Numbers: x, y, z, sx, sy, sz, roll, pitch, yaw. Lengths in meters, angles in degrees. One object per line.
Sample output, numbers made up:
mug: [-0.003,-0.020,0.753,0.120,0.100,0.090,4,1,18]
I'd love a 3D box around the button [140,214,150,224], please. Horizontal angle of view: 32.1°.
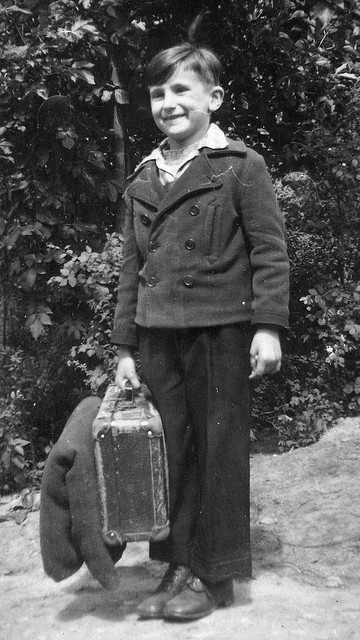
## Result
button: [-0.109,-0.312,1.936,0.022,0.031,0.031,-2,38,6]

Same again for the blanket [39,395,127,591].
blanket: [-0.303,0.506,1.838,0.148,0.494,0.289,7,-16,-25]

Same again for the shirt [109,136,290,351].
shirt: [0.075,-0.195,1.900,0.430,0.681,0.402,3,14,11]

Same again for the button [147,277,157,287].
button: [-0.085,-0.116,1.876,0.025,0.026,0.006,15,9,30]

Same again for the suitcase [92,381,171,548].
suitcase: [-0.138,0.429,2.012,0.299,0.494,0.547,-2,9,0]

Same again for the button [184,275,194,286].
button: [0.027,-0.115,1.807,0.029,0.027,0.011,-7,2,8]
